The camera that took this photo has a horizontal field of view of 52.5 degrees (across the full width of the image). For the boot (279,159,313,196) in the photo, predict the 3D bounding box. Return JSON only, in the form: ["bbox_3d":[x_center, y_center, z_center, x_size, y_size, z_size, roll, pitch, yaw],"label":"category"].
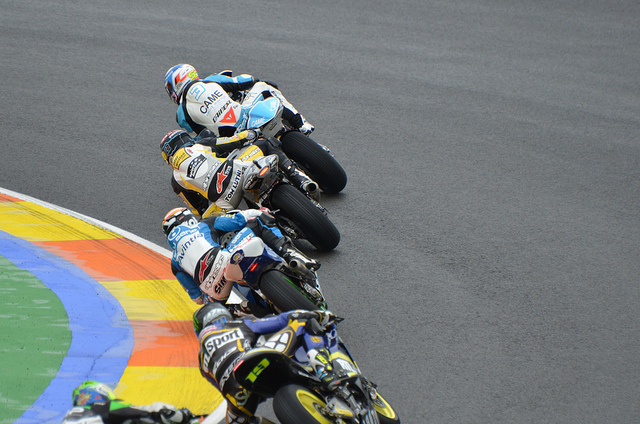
[{"bbox_3d":[-0.316,-0.494,8.702,0.277,0.313,0.560,-44,64,8],"label":"boot"}]

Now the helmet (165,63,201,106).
[{"bbox_3d":[-1.978,-1.804,9.454,0.419,0.607,0.525,-20,56,-18],"label":"helmet"}]

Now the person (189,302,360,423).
[{"bbox_3d":[-0.514,1.241,6.985,1.046,1.861,0.907,28,101,-1],"label":"person"}]

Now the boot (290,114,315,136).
[{"bbox_3d":[-0.248,-1.263,9.479,0.141,0.324,0.252,-53,35,5],"label":"boot"}]

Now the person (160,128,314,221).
[{"bbox_3d":[-1.360,-0.599,8.569,1.023,1.096,1.968,-57,27,12],"label":"person"}]

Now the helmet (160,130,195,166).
[{"bbox_3d":[-1.938,-0.866,8.862,0.513,0.392,0.454,-15,85,16],"label":"helmet"}]

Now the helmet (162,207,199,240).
[{"bbox_3d":[-1.608,0.132,7.628,0.418,0.329,0.346,-16,74,1],"label":"helmet"}]

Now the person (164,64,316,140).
[{"bbox_3d":[-1.268,-1.518,9.361,1.814,0.739,1.122,-2,52,-6],"label":"person"}]

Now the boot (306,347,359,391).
[{"bbox_3d":[0.070,1.482,6.195,0.256,0.280,0.526,-45,69,-3],"label":"boot"}]

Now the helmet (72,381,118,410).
[{"bbox_3d":[-2.155,1.756,6.291,0.370,0.208,0.229,-13,18,-11],"label":"helmet"}]
